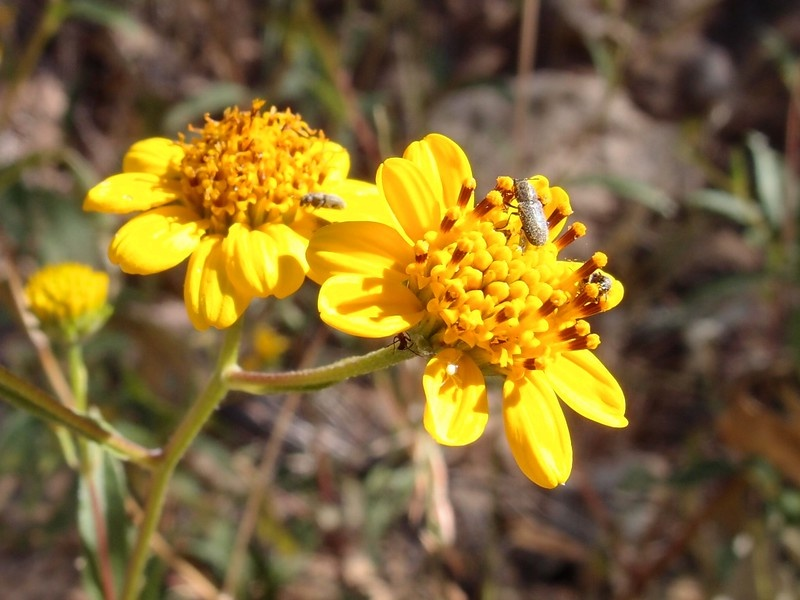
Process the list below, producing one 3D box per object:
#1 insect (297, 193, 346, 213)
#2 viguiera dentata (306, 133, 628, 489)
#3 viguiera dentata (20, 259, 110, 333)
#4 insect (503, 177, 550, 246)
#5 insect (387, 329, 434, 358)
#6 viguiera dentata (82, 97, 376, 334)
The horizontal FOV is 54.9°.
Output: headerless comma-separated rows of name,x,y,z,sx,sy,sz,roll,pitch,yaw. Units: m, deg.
insect,-0.284,-0.359,2.832,0.106,0.080,0.039,6,96,12
viguiera dentata,0.313,0.016,2.751,0.916,0.425,1.224,-45,83,-4
viguiera dentata,-1.458,-0.036,3.445,0.296,0.314,0.317,9,108,19
insect,0.447,-0.294,2.805,0.061,0.205,0.213,-31,56,28
insect,0.041,0.164,2.740,0.109,0.034,0.086,20,69,31
viguiera dentata,-0.652,-0.243,2.912,0.887,0.485,0.955,-2,66,-14
